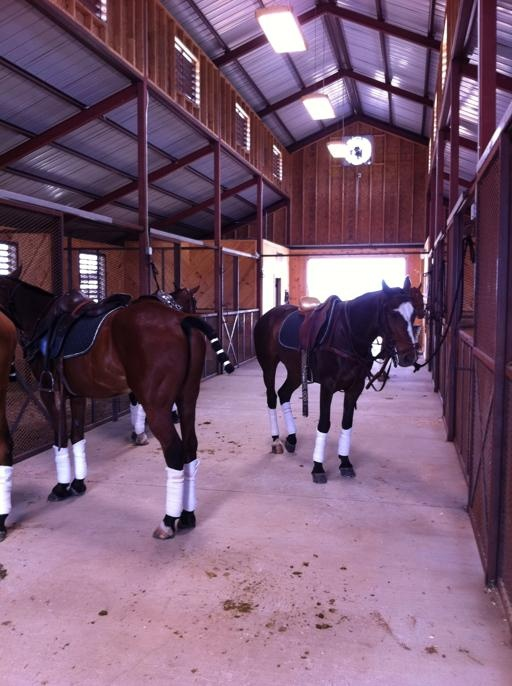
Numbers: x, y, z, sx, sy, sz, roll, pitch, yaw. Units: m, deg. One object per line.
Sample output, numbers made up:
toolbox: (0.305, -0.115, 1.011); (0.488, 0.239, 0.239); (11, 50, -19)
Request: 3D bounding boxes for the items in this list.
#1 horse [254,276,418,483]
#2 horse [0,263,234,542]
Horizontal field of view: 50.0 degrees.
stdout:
horse: (0.535, 0.236, 4.164); (0.608, 1.403, 1.503); (-2, 4, -24)
horse: (-0.810, 0.282, 3.191); (1.596, 1.442, 0.420); (3, 4, 39)
